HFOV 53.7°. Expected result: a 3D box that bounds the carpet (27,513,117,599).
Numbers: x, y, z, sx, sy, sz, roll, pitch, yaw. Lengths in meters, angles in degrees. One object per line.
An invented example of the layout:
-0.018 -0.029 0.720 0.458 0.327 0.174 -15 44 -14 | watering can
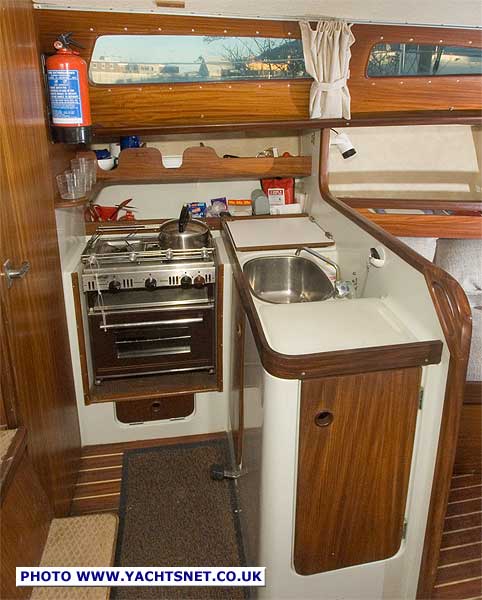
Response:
-0.384 0.555 1.083 0.167 0.058 0.254 1 20 -9 | carpet

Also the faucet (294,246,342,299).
0.341 -0.134 1.972 0.176 0.143 0.472 -2 23 -1 | faucet

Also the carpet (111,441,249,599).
-0.266 0.846 1.968 0.496 0.234 0.696 1 18 -10 | carpet

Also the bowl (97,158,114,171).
-0.726 -0.724 2.556 0.082 0.058 0.073 -12 37 -20 | bowl

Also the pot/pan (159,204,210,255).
-0.283 -0.321 2.295 0.231 0.226 0.270 5 17 -12 | pot/pan

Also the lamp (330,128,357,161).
0.536 -0.826 2.523 0.092 0.142 0.131 -14 26 -27 | lamp

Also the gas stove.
-0.408 -0.155 2.134 0.503 0.092 0.505 -2 25 -5 | gas stove

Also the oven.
-0.445 0.069 2.393 0.614 0.435 0.517 -1 21 -11 | oven
